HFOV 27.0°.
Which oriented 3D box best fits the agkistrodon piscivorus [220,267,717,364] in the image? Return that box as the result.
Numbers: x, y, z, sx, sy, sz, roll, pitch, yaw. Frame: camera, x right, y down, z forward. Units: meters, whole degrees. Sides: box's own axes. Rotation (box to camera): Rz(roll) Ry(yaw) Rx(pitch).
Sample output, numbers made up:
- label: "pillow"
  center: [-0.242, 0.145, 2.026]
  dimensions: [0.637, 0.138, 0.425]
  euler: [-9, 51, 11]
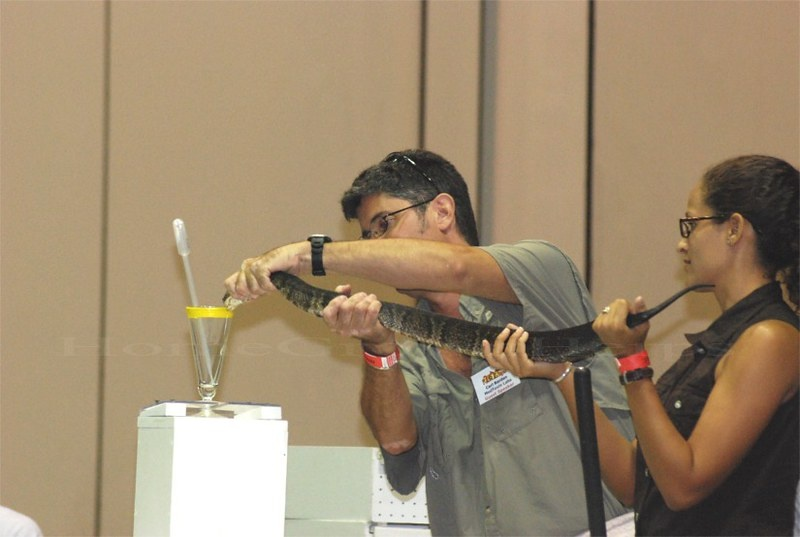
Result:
- label: "agkistrodon piscivorus"
  center: [0.143, 0.109, 4.847]
  dimensions: [0.985, 0.235, 0.739]
  euler: [5, 7, 44]

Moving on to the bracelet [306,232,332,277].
- label: "bracelet"
  center: [-0.252, -0.035, 5.025]
  dimensions: [0.078, 0.120, 0.112]
  euler: [0, -8, 6]

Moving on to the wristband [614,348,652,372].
- label: "wristband"
  center: [0.651, 0.265, 4.674]
  dimensions: [0.071, 0.035, 0.069]
  euler: [-17, -5, -38]

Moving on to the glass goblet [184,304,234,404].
- label: "glass goblet"
  center: [-0.576, 0.272, 5.051]
  dimensions: [0.157, 0.290, 0.148]
  euler: [7, -9, -42]

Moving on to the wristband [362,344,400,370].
- label: "wristband"
  center: [-0.054, 0.267, 5.040]
  dimensions: [0.077, 0.031, 0.079]
  euler: [3, 8, 29]
